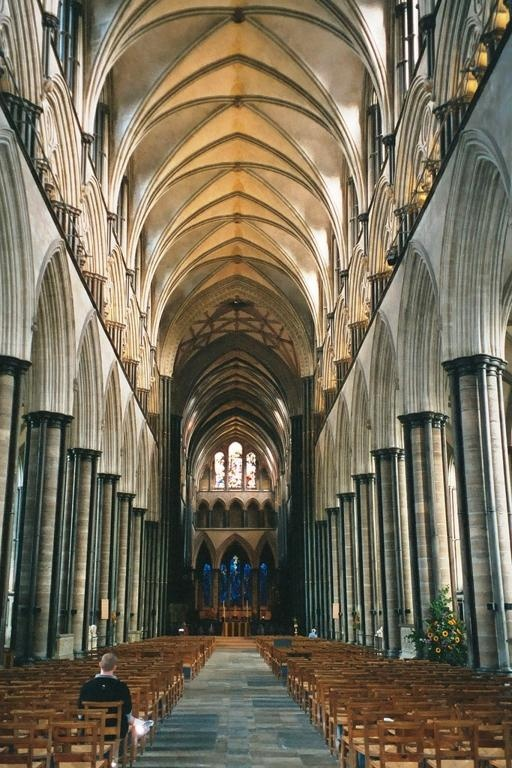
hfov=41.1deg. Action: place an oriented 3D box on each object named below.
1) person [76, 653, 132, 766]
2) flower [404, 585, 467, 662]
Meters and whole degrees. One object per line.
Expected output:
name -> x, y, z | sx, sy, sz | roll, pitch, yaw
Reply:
person -> -1.012, 2.144, 4.595 | 0.357, 0.688, 1.002 | 3, -23, -10
flower -> 3.172, 4.155, 11.904 | 0.863, 1.619, 0.955 | 5, -7, -34
